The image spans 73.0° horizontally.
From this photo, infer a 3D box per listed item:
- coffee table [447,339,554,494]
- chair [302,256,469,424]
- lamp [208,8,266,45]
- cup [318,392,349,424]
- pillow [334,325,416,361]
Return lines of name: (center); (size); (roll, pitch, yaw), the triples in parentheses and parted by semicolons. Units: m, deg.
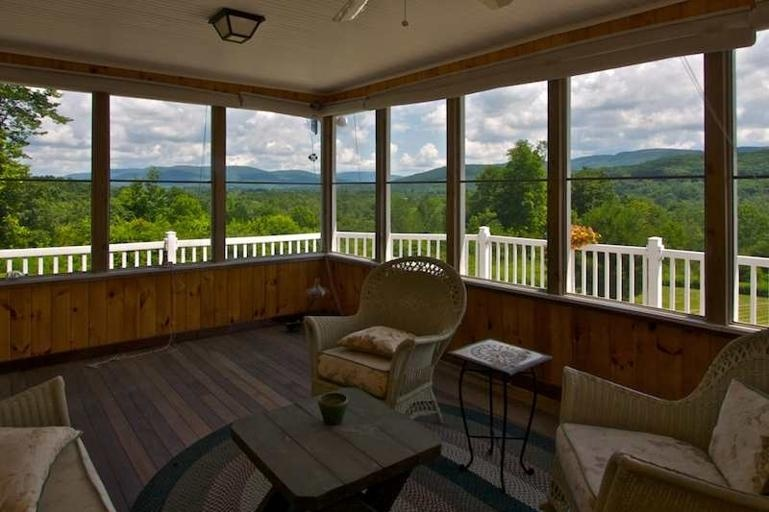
coffee table: (0.883, 1.218, 3.859); (0.634, 1.297, 0.835); (-4, 4, -42)
chair: (-0.024, 0.669, 4.124); (1.129, 1.316, 0.954); (3, 4, 32)
lamp: (-1.155, -1.834, 4.102); (0.424, 0.200, 0.222); (-4, 14, -17)
cup: (-0.311, 0.924, 3.110); (0.181, 0.142, 0.184); (5, 7, -1)
pillow: (-0.053, 0.669, 4.180); (0.573, 0.175, 0.596); (0, 2, 38)
